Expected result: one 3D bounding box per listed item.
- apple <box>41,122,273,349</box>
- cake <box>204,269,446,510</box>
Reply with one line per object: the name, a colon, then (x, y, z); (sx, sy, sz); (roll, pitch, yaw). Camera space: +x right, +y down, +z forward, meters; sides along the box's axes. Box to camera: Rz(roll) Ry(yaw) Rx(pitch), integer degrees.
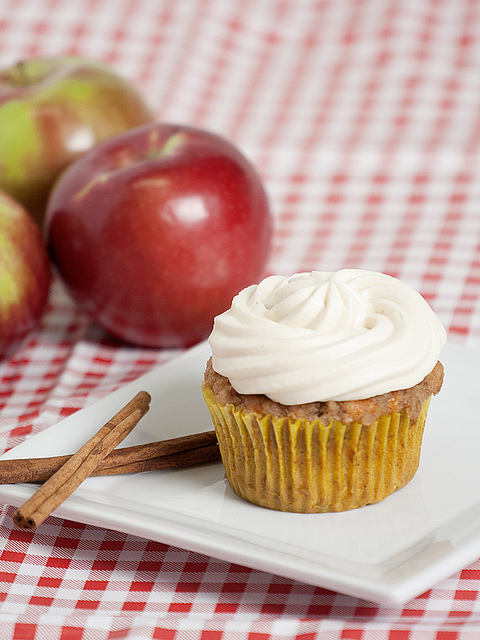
apple: (-0.148, -0.170, 1.480); (0.453, 0.371, 0.434); (11, 23, 37)
cake: (0.106, 0.097, 0.948); (0.341, 0.242, 0.341); (1, 8, -12)
